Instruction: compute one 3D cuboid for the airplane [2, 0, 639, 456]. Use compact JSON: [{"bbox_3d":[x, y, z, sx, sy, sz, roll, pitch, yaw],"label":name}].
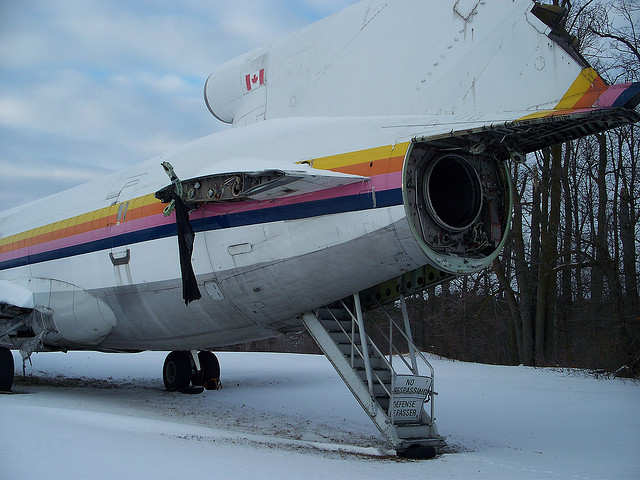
[{"bbox_3d":[-0.261,-0.803,15.181,11.240,6.145,12.423,1,-3,-42],"label":"airplane"}]
